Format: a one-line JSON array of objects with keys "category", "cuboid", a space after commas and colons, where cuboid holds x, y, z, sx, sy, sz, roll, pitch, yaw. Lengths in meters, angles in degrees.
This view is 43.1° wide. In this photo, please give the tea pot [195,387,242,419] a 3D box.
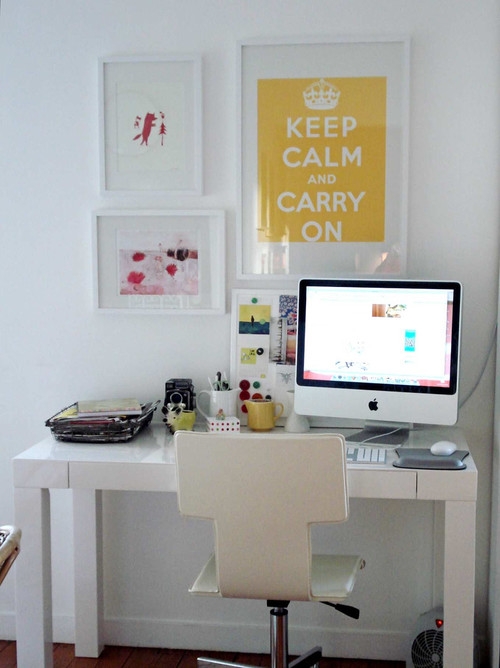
[{"category": "tea pot", "cuboid": [-0.098, 0.218, 2.039, 0.130, 0.108, 0.084, 0, 4, 0]}]

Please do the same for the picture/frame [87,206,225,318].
[{"category": "picture/frame", "cuboid": [-0.291, -0.248, 2.090, 0.354, 0.278, 0.017, 0, 3, 0]}]

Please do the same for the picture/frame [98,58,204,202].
[{"category": "picture/frame", "cuboid": [-0.311, -0.681, 2.057, 0.446, 0.557, 0.036, 0, 7, 5]}]

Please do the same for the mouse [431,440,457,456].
[{"category": "mouse", "cuboid": [0.504, 0.300, 1.658, 0.057, 0.024, 0.102, 3, 9, 26]}]

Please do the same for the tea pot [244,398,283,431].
[{"category": "tea pot", "cuboid": [0.042, 0.238, 1.974, 0.135, 0.112, 0.081, 1, 7, 8]}]

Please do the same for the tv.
[{"category": "tv", "cuboid": [0.370, 0.070, 1.816, 0.454, 0.468, 0.156, 1, 3, 14]}]
